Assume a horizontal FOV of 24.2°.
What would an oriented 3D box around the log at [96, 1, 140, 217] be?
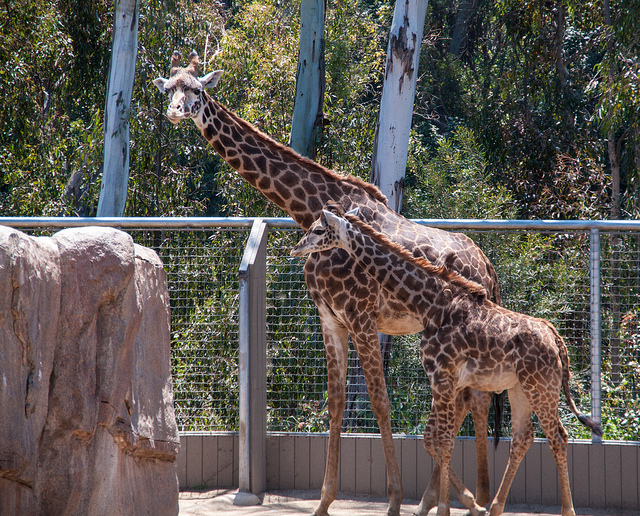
[{"bbox_3d":[-2.764,-2.053,20.255,0.528,2.926,0.477,1,-6,-12],"label":"log"}]
